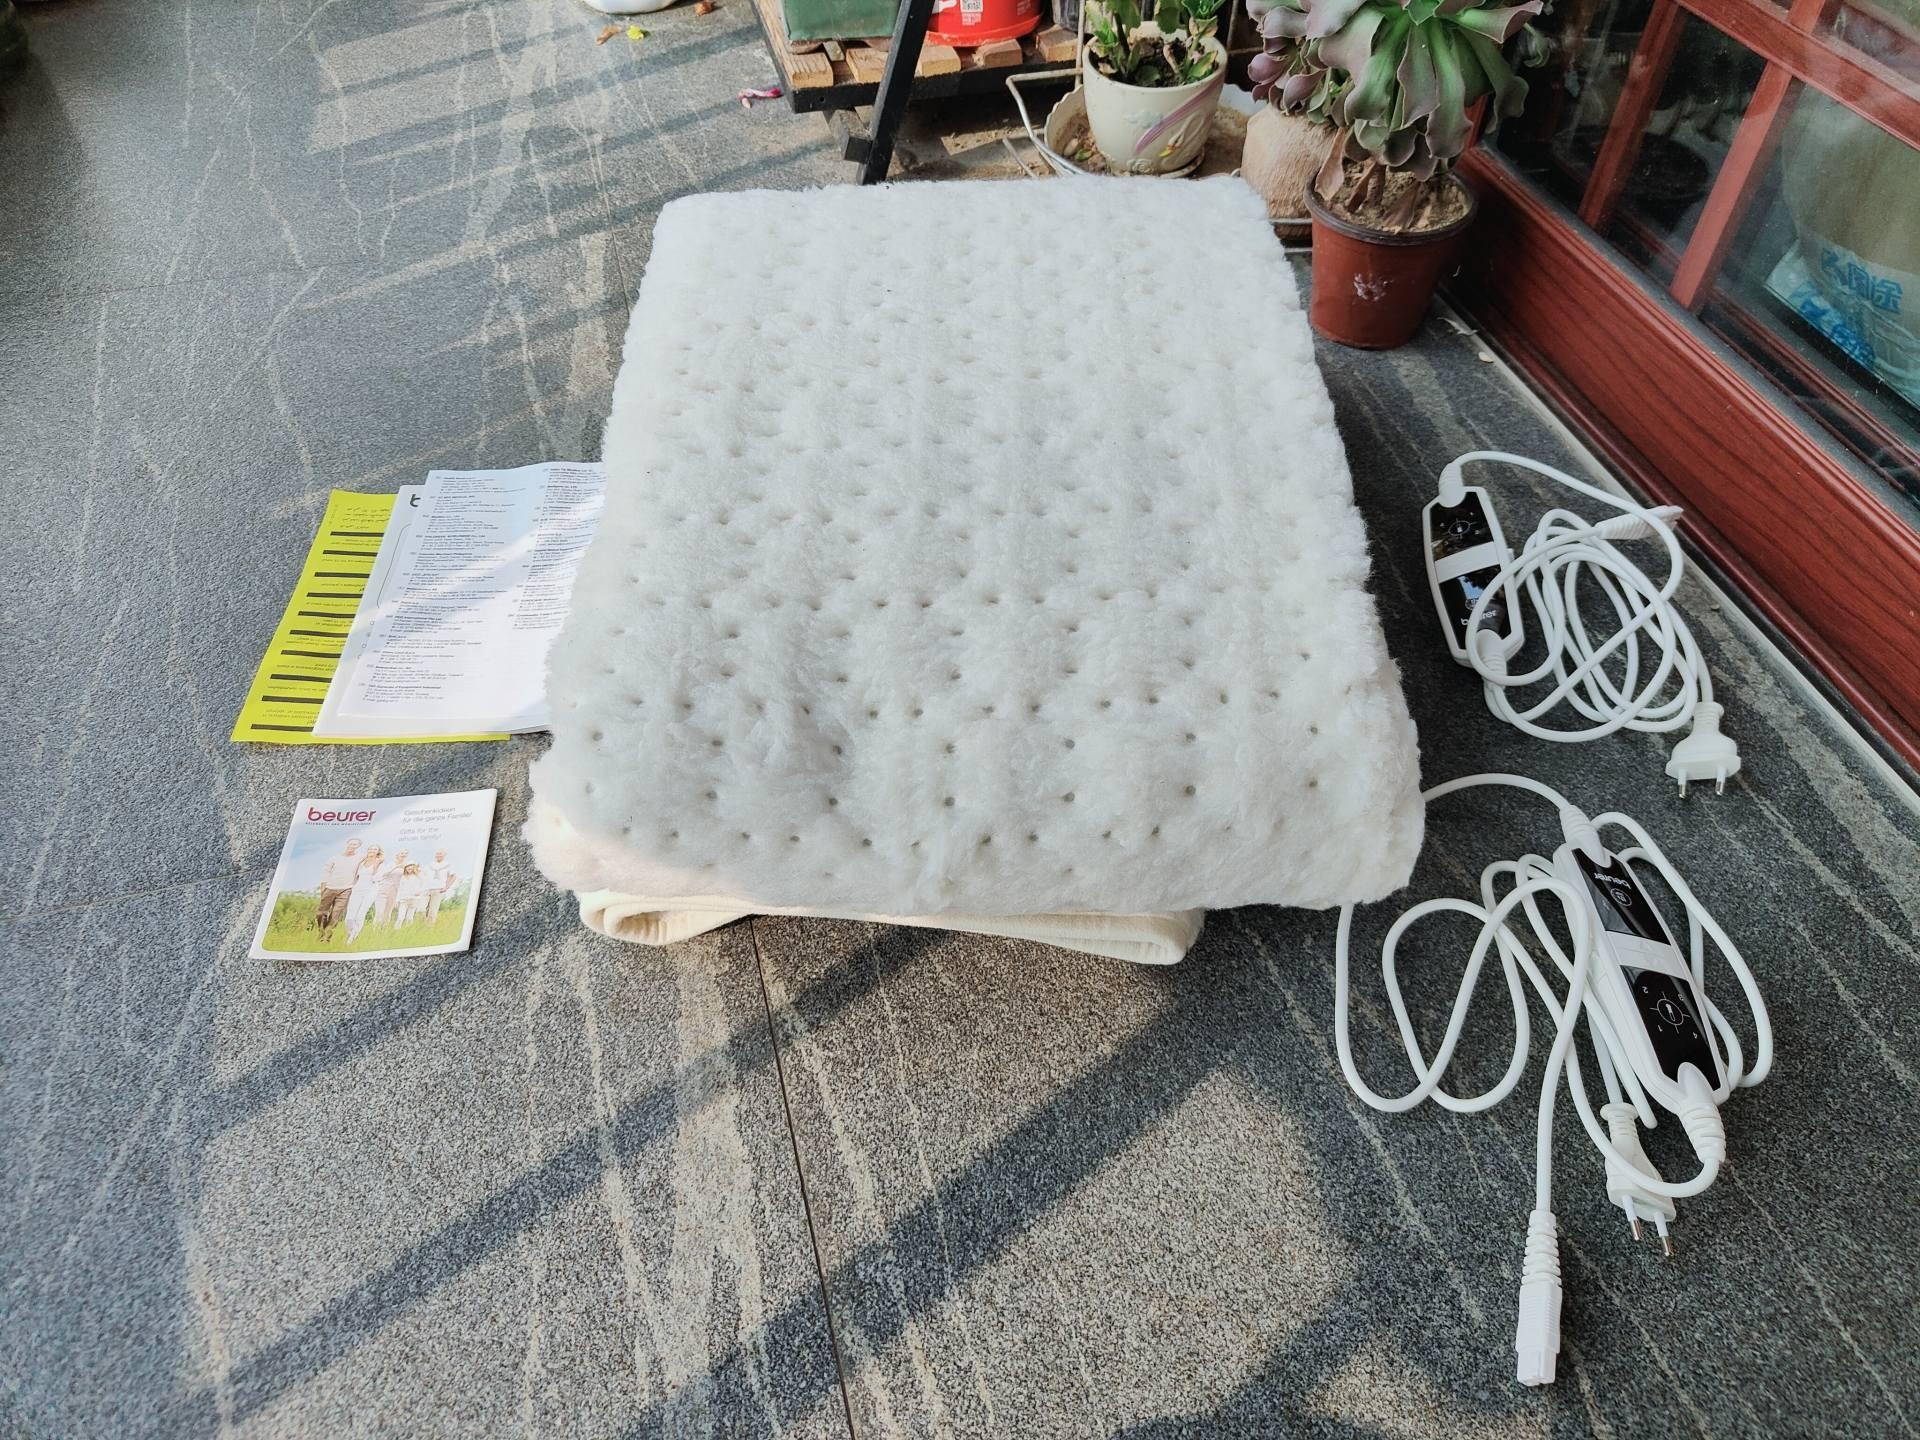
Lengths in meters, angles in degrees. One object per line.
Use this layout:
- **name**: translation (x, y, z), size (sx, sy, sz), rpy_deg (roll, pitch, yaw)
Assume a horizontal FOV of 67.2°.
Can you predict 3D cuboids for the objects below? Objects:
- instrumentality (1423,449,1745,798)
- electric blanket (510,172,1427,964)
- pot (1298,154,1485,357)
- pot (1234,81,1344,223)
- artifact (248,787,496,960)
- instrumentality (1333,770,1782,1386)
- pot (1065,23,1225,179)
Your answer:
- **instrumentality**: translation (0.743, -0.114, 1.810), size (0.065, 0.417, 0.277), rpy_deg (-33, 78, -17)
- **electric blanket**: translation (0.009, -0.213, 1.758), size (0.932, 0.445, 0.936), rpy_deg (-2, 47, 1)
- **pot**: translation (0.624, -0.673, 2.143), size (0.241, 0.200, 0.249), rpy_deg (-1, 40, 1)
- **pot**: translation (0.537, -0.909, 2.257), size (0.174, 0.232, 0.166), rpy_deg (-2, 69, 5)
- **artifact**: translation (-0.694, 0.190, 1.716), size (0.256, 0.054, 0.197), rpy_deg (-2, 47, 0)
- **instrumentality**: translation (0.681, 0.411, 1.596), size (0.392, 0.110, 0.618), rpy_deg (-3, 64, 3)
- **pot**: translation (0.317, -1.048, 2.393), size (0.259, 0.209, 0.284), rpy_deg (-1, 61, 2)
